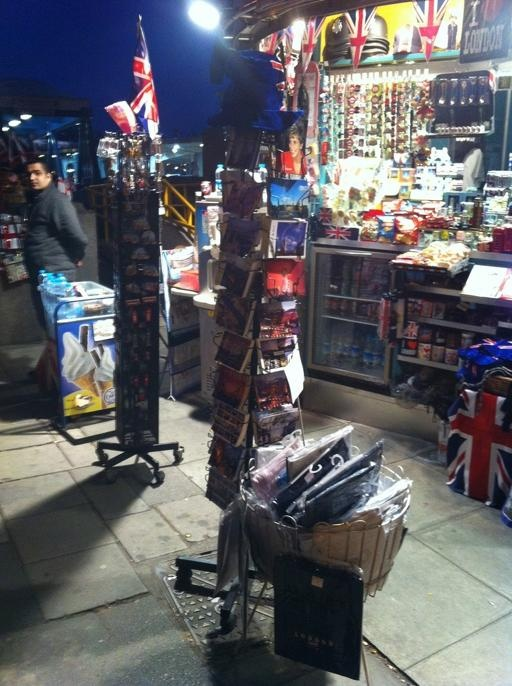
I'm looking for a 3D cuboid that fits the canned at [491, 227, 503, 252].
[{"bbox_3d":[1.649,-0.708,3.735,0.092,0.163,0.049,9,14,40],"label":"canned"}]

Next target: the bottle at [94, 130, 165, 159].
[{"bbox_3d":[-0.838,-1.286,3.558,0.415,0.174,0.197,1,10,2],"label":"bottle"}]

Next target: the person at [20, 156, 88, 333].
[{"bbox_3d":[-2.223,-1.054,5.961,0.658,1.862,0.688,-11,21,-30],"label":"person"}]
